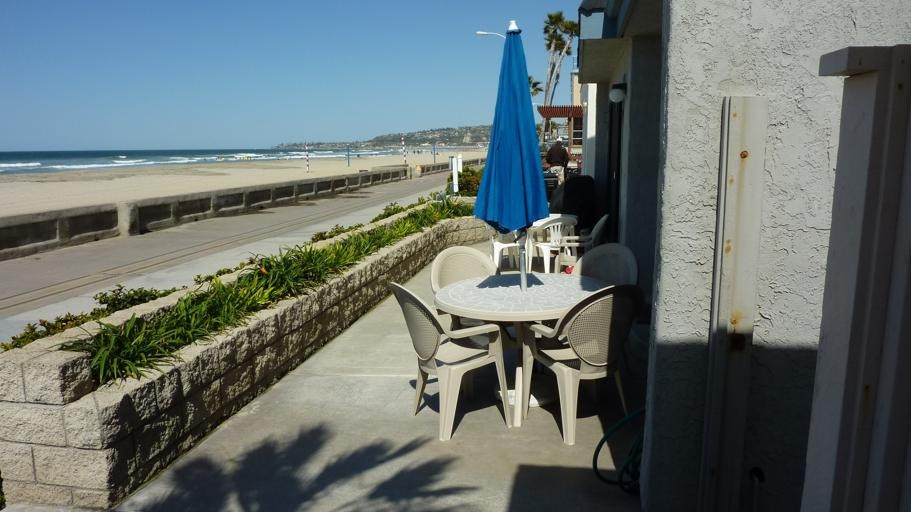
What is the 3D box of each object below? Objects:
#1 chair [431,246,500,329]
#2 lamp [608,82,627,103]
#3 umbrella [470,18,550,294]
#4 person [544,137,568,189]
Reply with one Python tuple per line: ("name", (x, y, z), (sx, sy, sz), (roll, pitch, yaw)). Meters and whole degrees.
("chair", (0.094, 0.340, 6.420), (0.659, 0.805, 0.630), (-18, 32, -24))
("lamp", (2.363, -2.403, 8.921), (0.213, 0.262, 0.407), (0, 13, 12))
("umbrella", (0.526, -0.891, 5.744), (0.667, 2.570, 0.713), (1, 14, 19))
("person", (3.658, -3.433, 22.074), (0.767, 1.898, 0.572), (4, 42, 11))
